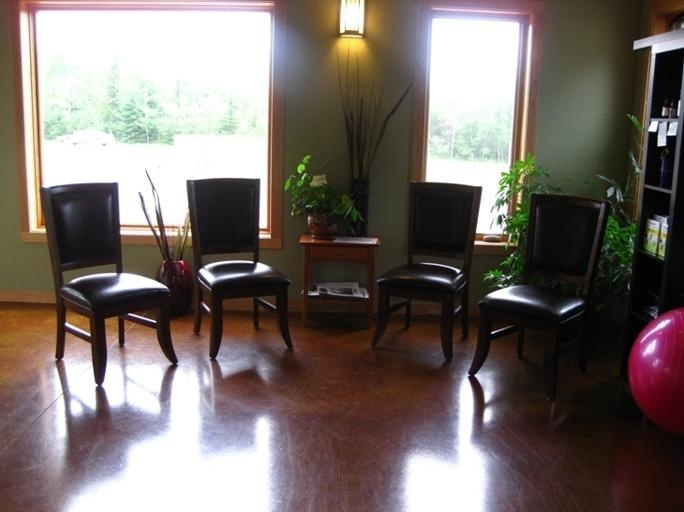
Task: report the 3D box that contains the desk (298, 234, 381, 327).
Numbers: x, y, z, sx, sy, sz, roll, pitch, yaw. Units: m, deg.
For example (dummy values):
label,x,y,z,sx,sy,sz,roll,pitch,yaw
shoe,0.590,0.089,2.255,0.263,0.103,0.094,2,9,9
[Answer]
label,x,y,z,sx,sy,sz,roll,pitch,yaw
desk,-0.025,0.170,4.254,0.618,0.644,0.417,1,10,-1

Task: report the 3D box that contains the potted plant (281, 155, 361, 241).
label,x,y,z,sx,sy,sz,roll,pitch,yaw
potted plant,-0.204,-0.480,4.244,0.430,0.647,0.479,-8,8,10

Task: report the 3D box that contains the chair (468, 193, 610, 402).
label,x,y,z,sx,sy,sz,roll,pitch,yaw
chair,1.319,0.189,3.417,0.618,1.129,0.966,9,17,36

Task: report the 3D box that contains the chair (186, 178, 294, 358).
label,x,y,z,sx,sy,sz,roll,pitch,yaw
chair,-0.742,0.051,3.772,0.669,1.194,0.736,-2,9,-19

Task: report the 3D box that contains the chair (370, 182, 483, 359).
label,x,y,z,sx,sy,sz,roll,pitch,yaw
chair,0.675,0.046,3.956,0.659,1.164,0.984,4,15,20
